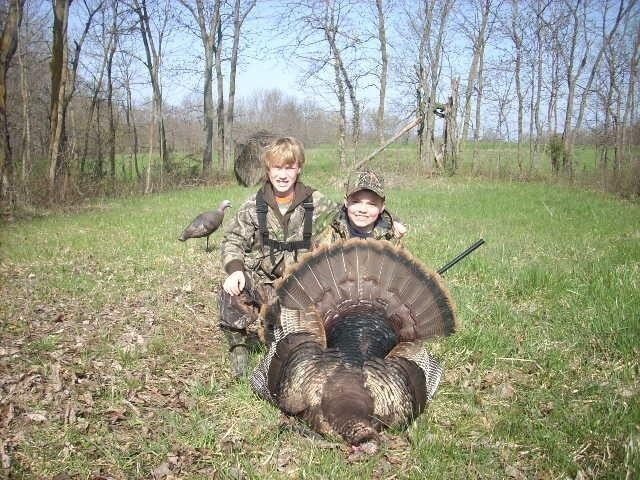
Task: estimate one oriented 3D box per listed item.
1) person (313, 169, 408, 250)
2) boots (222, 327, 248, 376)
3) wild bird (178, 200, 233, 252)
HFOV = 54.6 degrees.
[{"bbox_3d":[0.546,-0.368,8.005,0.821,1.145,0.931,5,10,16],"label":"person"},{"bbox_3d":[-1.095,1.491,8.307,0.357,0.560,0.682,-2,9,-17],"label":"boots"},{"bbox_3d":[-2.540,-0.389,13.484,0.833,1.252,0.893,4,9,-10],"label":"wild bird"}]
